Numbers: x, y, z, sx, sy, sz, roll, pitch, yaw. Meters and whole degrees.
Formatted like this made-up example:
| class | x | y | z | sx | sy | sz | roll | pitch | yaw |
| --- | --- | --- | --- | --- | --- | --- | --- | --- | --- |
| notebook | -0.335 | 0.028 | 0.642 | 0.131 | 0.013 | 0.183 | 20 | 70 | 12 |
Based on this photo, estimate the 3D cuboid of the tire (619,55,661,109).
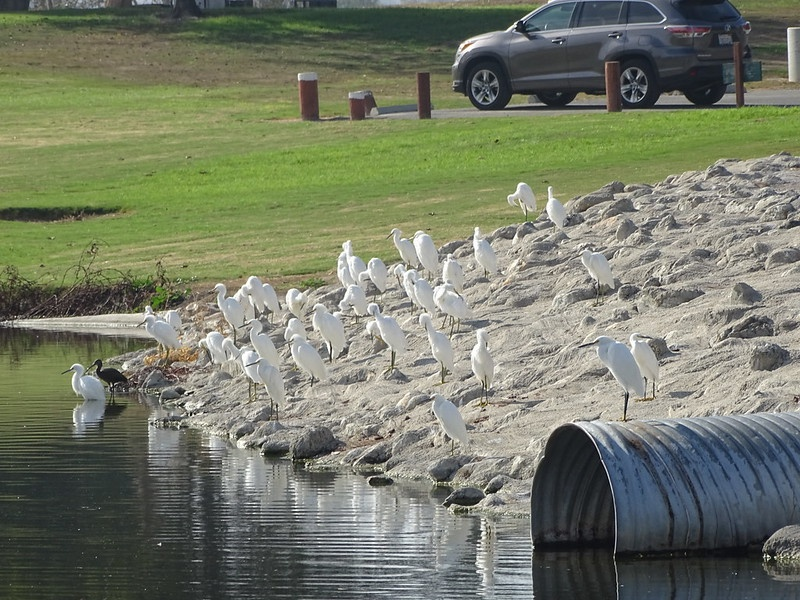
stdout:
| class | x | y | z | sx | sy | sz | roll | pitch | yaw |
| --- | --- | --- | --- | --- | --- | --- | --- | --- | --- |
| tire | 6.525 | -5.890 | 65.790 | 0.411 | 1.296 | 1.165 | -8 | 7 | -35 |

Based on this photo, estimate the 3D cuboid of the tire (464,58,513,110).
| class | x | y | z | sx | sy | sz | roll | pitch | yaw |
| --- | --- | --- | --- | --- | --- | --- | --- | --- | --- |
| tire | 2.532 | -6.072 | 68.492 | 0.376 | 1.143 | 1.043 | -31 | 26 | -33 |
